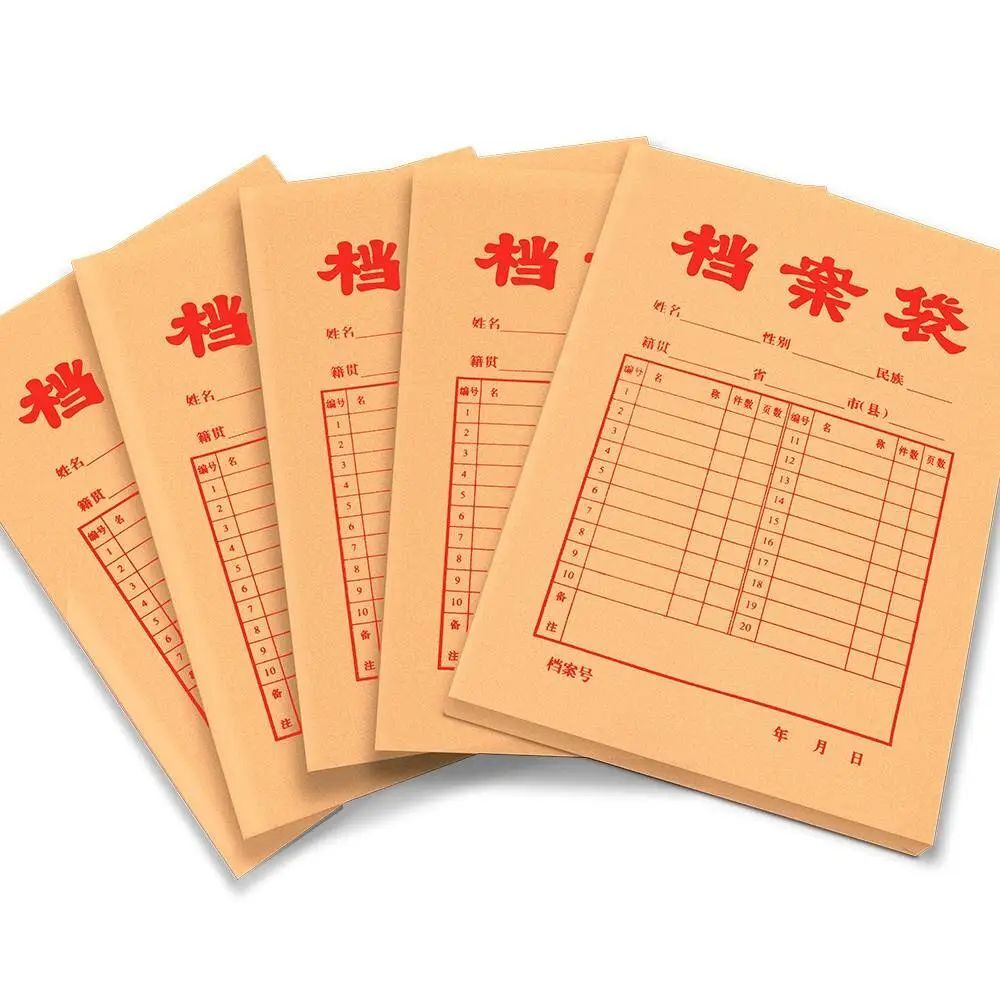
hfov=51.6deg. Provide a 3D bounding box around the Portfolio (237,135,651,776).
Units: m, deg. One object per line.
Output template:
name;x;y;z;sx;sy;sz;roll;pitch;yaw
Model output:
Portfolio;-0.128;-0.070;1.070;0.603;0.624;0.078;-2;-10;3
